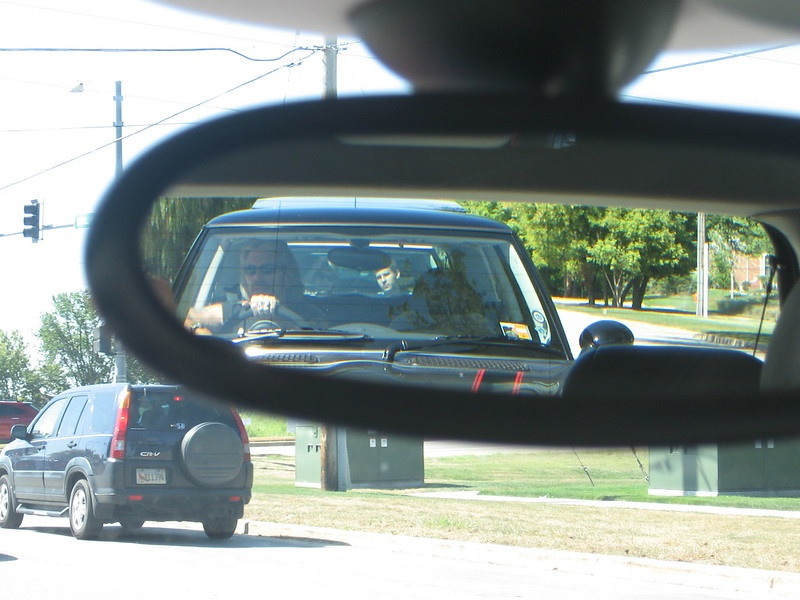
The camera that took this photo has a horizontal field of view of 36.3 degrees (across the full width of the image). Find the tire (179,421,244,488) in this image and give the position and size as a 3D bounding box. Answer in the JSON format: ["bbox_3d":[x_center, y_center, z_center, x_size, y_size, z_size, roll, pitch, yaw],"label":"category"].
[{"bbox_3d":[-1.907,1.597,12.742,0.766,0.717,0.235,3,6,13],"label":"tire"}]

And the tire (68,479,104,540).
[{"bbox_3d":[-3.276,2.208,12.875,0.229,0.619,0.644,8,-13,-30],"label":"tire"}]
